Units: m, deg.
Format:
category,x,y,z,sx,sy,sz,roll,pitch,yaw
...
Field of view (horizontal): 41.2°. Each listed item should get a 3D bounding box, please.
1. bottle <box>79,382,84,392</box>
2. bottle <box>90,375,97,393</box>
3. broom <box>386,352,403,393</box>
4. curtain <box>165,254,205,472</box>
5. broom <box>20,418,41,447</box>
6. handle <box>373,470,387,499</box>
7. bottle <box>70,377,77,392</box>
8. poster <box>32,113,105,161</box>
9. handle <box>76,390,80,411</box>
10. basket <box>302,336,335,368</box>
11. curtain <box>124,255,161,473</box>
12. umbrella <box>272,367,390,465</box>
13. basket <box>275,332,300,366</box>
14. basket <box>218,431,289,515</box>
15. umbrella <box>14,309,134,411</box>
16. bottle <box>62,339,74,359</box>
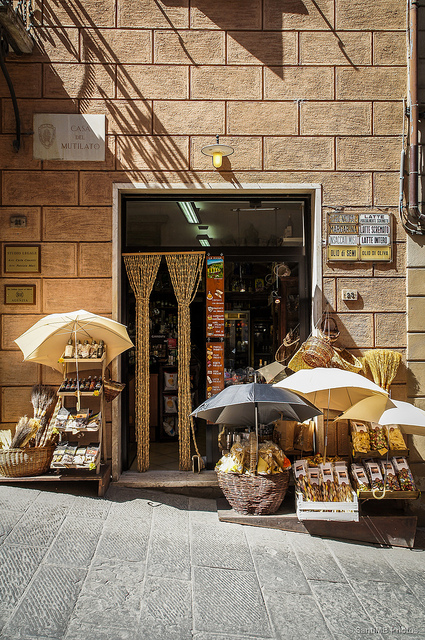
category,x,y,z,sx,sy,sz,roll,pitch,yaw
bottle,-0.992,0.522,4.278,0.035,0.047,0.065,5,6,-12
bottle,-0.913,0.505,4.329,0.042,0.069,0.180,5,6,-9
broom,1.444,0.404,4.499,0.092,0.430,0.095,10,17,18
curtain,-0.239,0.369,4.989,0.141,1.972,0.503,1,12,22
broom,-1.348,0.838,4.177,0.063,0.168,0.186,7,6,16
handle,1.226,1.193,4.086,0.076,0.120,0.168,10,7,35
bottle,-1.064,0.505,4.304,0.044,0.103,0.032,21,-39,-33
poster,-1.188,-1.481,4.671,0.578,0.403,0.016,0,1,-8
handle,-0.998,0.602,4.203,0.025,0.151,0.086,5,5,-8
basket,0.830,0.268,4.443,0.240,0.237,0.229,6,5,1
curtain,-0.598,0.366,4.899,0.078,1.927,0.466,1,3,17
umbrella,0.822,0.660,3.823,0.669,0.573,0.660,20,-21,-11
basket,0.674,0.280,5.117,0.060,0.297,0.174,3,17,-28
basket,0.203,1.102,4.264,0.552,0.636,0.533,1,-5,-12
umbrella,-0.973,0.343,4.092,0.833,0.747,0.827,-15,-20,30
bottle,-1.112,0.229,4.363,0.075,0.136,0.180,5,6,-15
